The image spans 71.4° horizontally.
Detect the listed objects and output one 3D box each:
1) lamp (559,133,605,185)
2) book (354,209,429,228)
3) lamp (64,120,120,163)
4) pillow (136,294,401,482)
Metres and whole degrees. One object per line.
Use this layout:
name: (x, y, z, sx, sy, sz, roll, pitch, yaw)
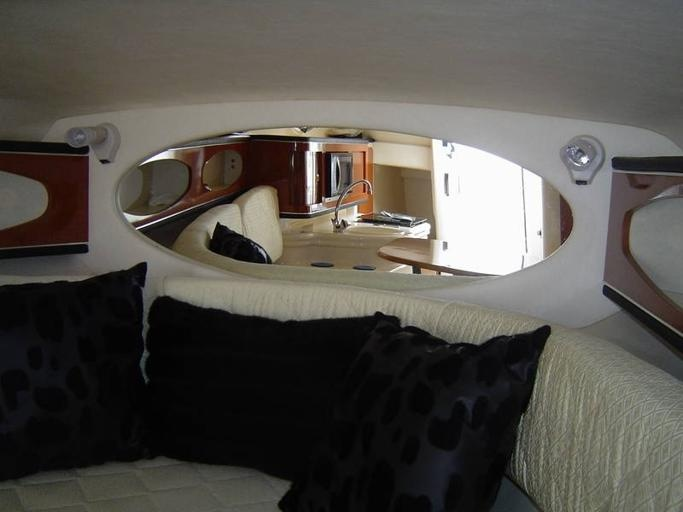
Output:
lamp: (0.758, -0.284, 1.515, 0.118, 0.180, 0.053, 4, -23, 23)
book: (0.177, -0.132, 1.687, 0.251, 0.052, 0.013, 7, 11, 20)
lamp: (-0.931, -0.431, 1.803, 0.120, 0.156, 0.160, 3, 11, 6)
pillow: (-0.227, 0.424, 1.447, 0.460, 0.360, 0.085, 4, -17, 15)
